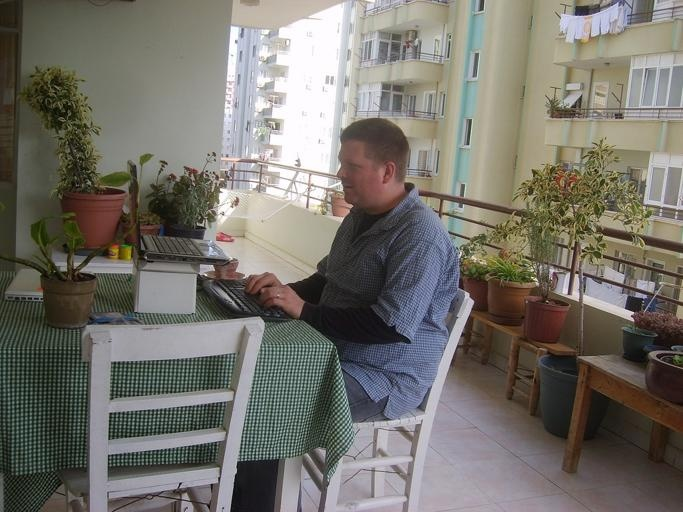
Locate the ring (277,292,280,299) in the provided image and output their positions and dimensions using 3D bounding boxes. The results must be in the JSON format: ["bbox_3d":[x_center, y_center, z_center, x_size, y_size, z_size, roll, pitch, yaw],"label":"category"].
[{"bbox_3d":[-0.224,0.140,1.721,0.012,0.018,0.005,1,13,-9],"label":"ring"}]

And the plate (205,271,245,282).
[{"bbox_3d":[-0.677,0.121,2.978,0.210,0.031,0.203,-1,3,-45],"label":"plate"}]

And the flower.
[{"bbox_3d":[-1.067,-0.506,3.671,0.370,0.508,0.404,12,5,-43],"label":"flower"}]

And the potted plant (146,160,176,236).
[{"bbox_3d":[-1.385,-0.463,3.720,0.157,0.393,0.142,15,-9,21],"label":"potted plant"}]

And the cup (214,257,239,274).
[{"bbox_3d":[-0.578,0.053,2.452,0.110,0.085,0.114,2,12,0],"label":"cup"}]

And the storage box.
[{"bbox_3d":[-0.617,-0.002,1.723,0.191,0.232,0.352,4,30,-27],"label":"storage box"}]

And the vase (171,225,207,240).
[{"bbox_3d":[-1.065,-0.163,3.390,0.170,0.133,0.180,1,0,17],"label":"vase"}]

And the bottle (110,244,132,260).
[{"bbox_3d":[-1.289,-0.023,2.880,0.081,0.052,0.084,1,5,0],"label":"bottle"}]
